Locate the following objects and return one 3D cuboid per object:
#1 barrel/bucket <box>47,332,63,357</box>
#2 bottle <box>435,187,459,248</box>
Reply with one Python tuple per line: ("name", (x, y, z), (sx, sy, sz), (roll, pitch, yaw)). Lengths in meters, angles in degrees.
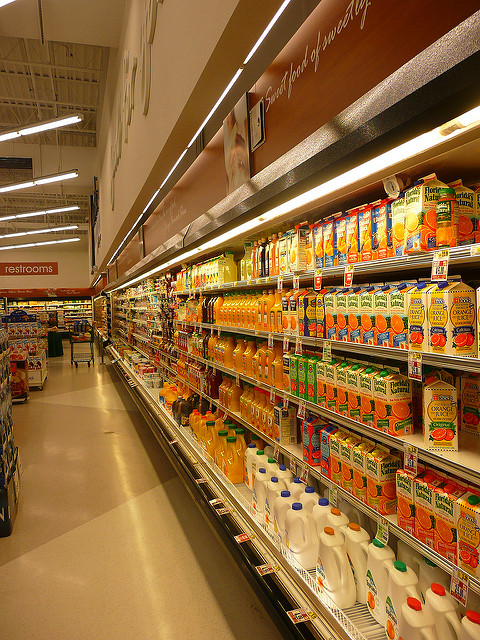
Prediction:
("barrel/bucket", (-6.657, 0.915, 14.855), (0.624, 1.061, 0.709), (0, 1, -8))
("bottle", (0.598, -0.296, 1.189), (0.051, 0.175, 0.038), (-1, 2, 28))
